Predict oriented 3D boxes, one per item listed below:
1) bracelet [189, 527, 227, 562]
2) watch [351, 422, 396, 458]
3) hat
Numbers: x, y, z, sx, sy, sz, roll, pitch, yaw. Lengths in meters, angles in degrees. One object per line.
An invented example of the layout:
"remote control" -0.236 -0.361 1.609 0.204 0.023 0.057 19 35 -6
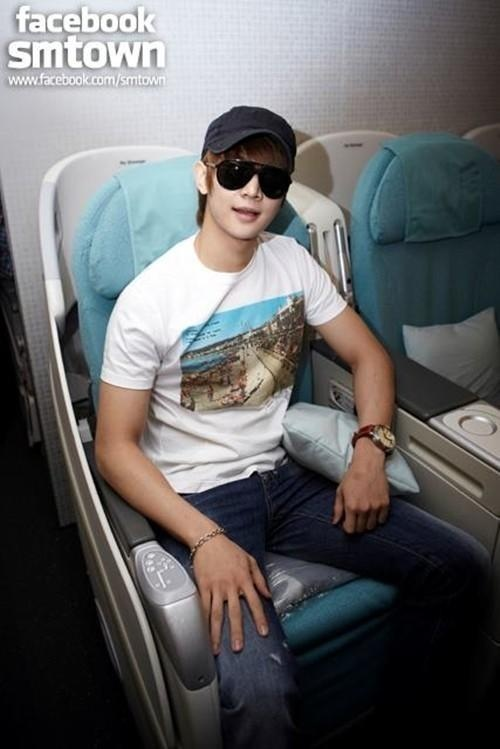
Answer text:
"bracelet" -0.065 0.259 0.795 0.041 0.013 0.053 -11 41 58
"watch" 0.262 0.124 1.068 0.079 0.089 0.058 -22 30 36
"hat" -0.001 -0.416 0.904 0.159 0.114 0.101 -4 24 4
